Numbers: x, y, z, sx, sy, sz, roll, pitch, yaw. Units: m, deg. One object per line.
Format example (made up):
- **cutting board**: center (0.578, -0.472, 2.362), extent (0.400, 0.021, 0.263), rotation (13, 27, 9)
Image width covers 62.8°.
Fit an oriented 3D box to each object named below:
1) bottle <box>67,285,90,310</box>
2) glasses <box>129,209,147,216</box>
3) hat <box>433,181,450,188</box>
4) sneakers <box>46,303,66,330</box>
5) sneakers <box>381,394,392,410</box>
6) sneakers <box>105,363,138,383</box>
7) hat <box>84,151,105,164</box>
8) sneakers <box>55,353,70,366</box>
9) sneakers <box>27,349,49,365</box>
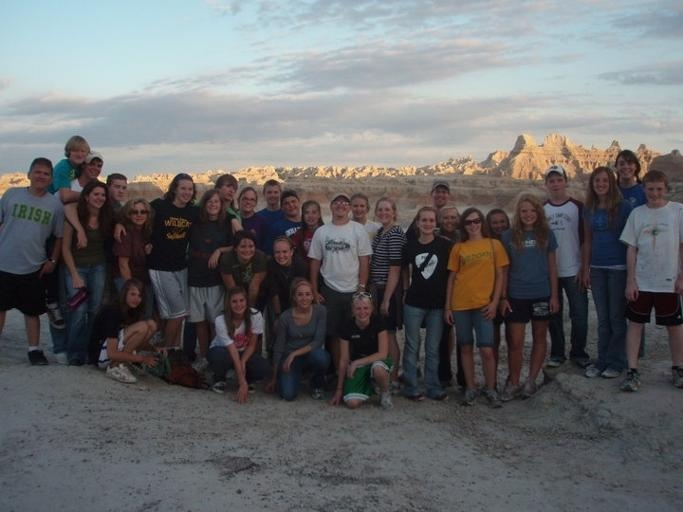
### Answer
- **bottle**: center (-3.052, 0.471, 6.492), extent (0.202, 0.267, 0.186), rotation (5, 13, -1)
- **glasses**: center (-2.342, -0.517, 6.489), extent (0.182, 0.072, 0.080), rotation (0, 14, -21)
- **hat**: center (1.305, -0.960, 7.377), extent (0.183, 0.129, 0.292), rotation (0, 12, 8)
- **sneakers**: center (-3.363, 0.713, 6.609), extent (0.128, 0.370, 0.147), rotation (-17, -28, -35)
- **sneakers**: center (0.501, 1.640, 6.295), extent (0.102, 0.066, 0.154), rotation (-6, 14, 4)
- **sneakers**: center (-2.445, 1.290, 6.315), extent (0.358, 0.169, 0.169), rotation (12, 12, 12)
- **hat**: center (-2.935, -1.183, 6.727), extent (0.273, 0.131, 0.131), rotation (15, 16, 37)
- **sneakers**: center (-3.309, 1.225, 6.652), extent (0.167, 0.146, 0.128), rotation (-4, -1, 23)
- **sneakers**: center (-3.482, 1.163, 6.475), extent (0.121, 0.125, 0.321), rotation (2, 2, -39)
